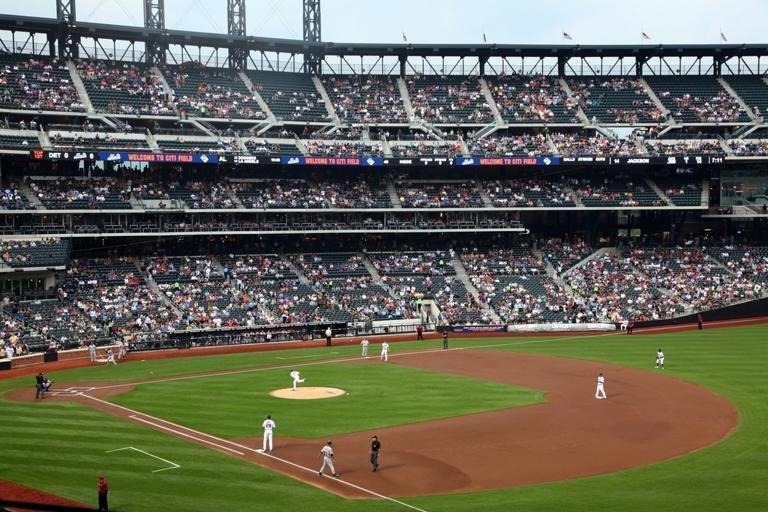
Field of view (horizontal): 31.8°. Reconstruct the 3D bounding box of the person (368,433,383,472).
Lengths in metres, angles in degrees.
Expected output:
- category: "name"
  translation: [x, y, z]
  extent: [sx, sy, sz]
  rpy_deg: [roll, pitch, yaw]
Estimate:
- category: "person"
  translation: [-0.737, 15.277, 105.669]
  extent: [0.733, 2.756, 1.446]
  rpy_deg: [-1, 2, -1]
